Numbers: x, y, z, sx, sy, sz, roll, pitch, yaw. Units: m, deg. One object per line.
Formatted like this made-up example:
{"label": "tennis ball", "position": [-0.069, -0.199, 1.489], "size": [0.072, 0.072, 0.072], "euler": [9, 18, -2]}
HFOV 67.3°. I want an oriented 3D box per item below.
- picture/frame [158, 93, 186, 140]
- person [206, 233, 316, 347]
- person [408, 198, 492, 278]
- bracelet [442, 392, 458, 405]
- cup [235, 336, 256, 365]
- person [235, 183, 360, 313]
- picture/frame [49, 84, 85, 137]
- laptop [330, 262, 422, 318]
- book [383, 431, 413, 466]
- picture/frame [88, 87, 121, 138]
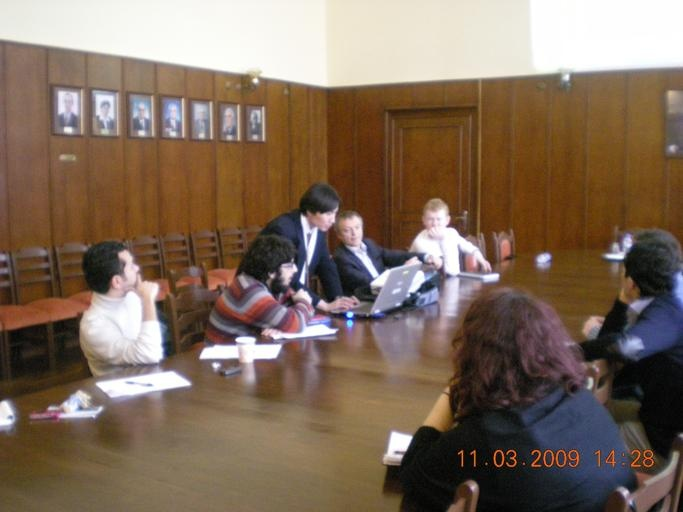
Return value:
{"label": "picture/frame", "position": [-2.225, -1.822, 6.757], "size": [0.064, 0.515, 0.366], "euler": [2, 10, 34]}
{"label": "person", "position": [-0.534, 0.112, 3.313], "size": [0.574, 0.966, 0.619], "euler": [-2, 32, -10]}
{"label": "person", "position": [1.049, -0.163, 5.121], "size": [0.722, 0.616, 0.754], "euler": [-5, 24, 2]}
{"label": "bracelet", "position": [0.342, 0.445, 1.627], "size": [0.049, 0.014, 0.052], "euler": [50, 1, 28]}
{"label": "cup", "position": [-0.484, 0.482, 2.611], "size": [0.103, 0.094, 0.115], "euler": [0, -3, 7]}
{"label": "person", "position": [-0.251, 0.068, 3.908], "size": [0.778, 1.201, 0.466], "euler": [4, 3, 15]}
{"label": "picture/frame", "position": [-3.137, -1.659, 5.864], "size": [0.057, 0.527, 0.354], "euler": [4, 11, 39]}
{"label": "laptop", "position": [0.240, 0.195, 3.556], "size": [0.497, 0.348, 0.552], "euler": [9, 8, 24]}
{"label": "book", "position": [0.195, 0.672, 1.792], "size": [0.086, 0.040, 0.143], "euler": [12, 28, 20]}
{"label": "picture/frame", "position": [-2.835, -1.705, 6.145], "size": [0.038, 0.546, 0.348], "euler": [4, 11, 41]}
